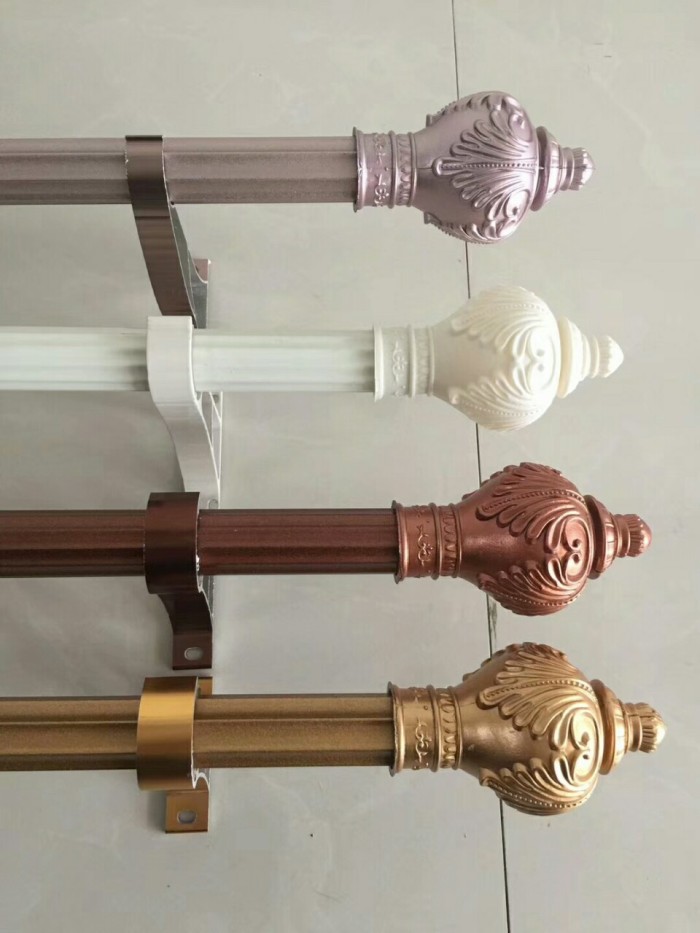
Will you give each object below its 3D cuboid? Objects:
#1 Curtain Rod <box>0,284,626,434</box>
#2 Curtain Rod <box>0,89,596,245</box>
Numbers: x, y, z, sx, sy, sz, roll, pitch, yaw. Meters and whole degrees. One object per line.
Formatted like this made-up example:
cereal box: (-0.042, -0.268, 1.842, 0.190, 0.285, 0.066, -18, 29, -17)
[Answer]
Curtain Rod: (-0.107, -0.092, 1.110, 0.814, 0.158, 0.167, 1, 15, 6)
Curtain Rod: (-0.122, -0.273, 1.110, 0.813, 0.156, 0.166, 1, 20, 6)
